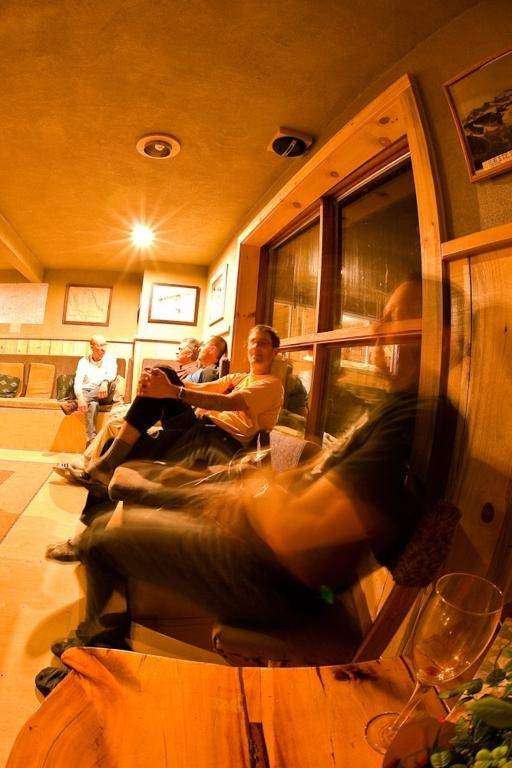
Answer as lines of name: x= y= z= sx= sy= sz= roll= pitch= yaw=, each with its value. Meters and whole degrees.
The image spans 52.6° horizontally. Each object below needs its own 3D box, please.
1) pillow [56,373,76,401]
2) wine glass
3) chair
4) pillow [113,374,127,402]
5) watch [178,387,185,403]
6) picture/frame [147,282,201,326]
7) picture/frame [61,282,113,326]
pillow: x=-1.469 y=0.025 z=4.012 sx=0.209 sy=0.210 sz=0.085 roll=-2 pitch=-14 yaw=23
wine glass: x=0.201 y=0.289 z=0.569 sx=0.105 sy=0.178 sz=0.204 roll=10 pitch=15 yaw=33
chair: x=0.136 y=0.379 z=0.971 sx=0.315 sy=0.276 sz=0.475 roll=1 pitch=-32 yaw=13
pillow: x=-0.913 y=0.034 z=3.466 sx=0.063 sy=0.158 sz=0.117 roll=11 pitch=2 yaw=-16
watch: x=-0.194 y=0.026 z=1.360 sx=0.021 sy=0.034 sz=0.030 roll=2 pitch=-2 yaw=-20
picture/frame: x=-0.530 y=-0.542 z=3.434 sx=0.285 sy=0.239 sz=0.021 roll=4 pitch=20 yaw=6
picture/frame: x=-1.255 y=-0.603 z=3.832 sx=0.327 sy=0.316 sz=0.031 roll=5 pitch=22 yaw=-37
